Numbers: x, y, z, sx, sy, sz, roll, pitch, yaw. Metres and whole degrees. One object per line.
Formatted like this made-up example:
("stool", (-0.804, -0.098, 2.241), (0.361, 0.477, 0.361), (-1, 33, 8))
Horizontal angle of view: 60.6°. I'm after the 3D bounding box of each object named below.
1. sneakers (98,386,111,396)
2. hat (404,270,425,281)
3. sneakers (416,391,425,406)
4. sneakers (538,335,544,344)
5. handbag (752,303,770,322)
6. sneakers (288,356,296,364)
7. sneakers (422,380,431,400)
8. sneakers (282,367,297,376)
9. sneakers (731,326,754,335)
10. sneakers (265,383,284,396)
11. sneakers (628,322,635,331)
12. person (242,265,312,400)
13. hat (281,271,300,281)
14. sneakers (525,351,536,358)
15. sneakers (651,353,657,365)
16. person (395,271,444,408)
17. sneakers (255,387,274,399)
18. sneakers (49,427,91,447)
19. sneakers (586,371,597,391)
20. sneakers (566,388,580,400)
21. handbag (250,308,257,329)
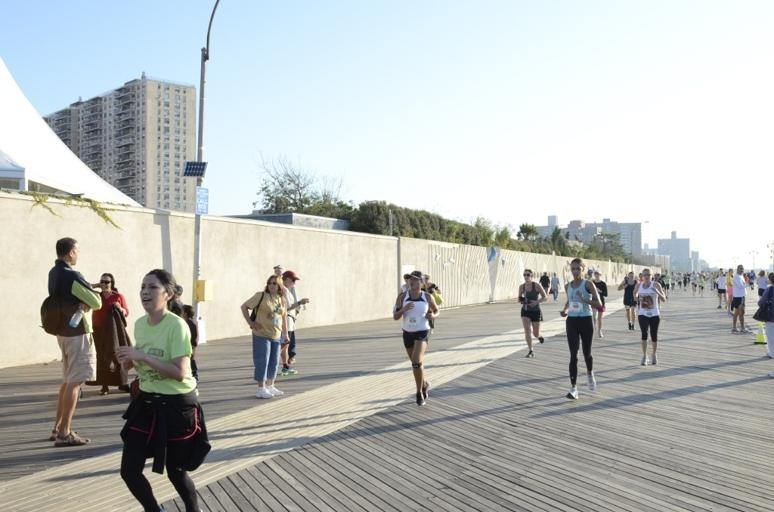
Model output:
("sneakers", (-5.513, 2.621, 12.906), (0.173, 0.198, 0.191), (-2, 1, -9))
("hat", (0.568, 0.331, 12.315), (0.182, 0.124, 0.311), (-5, -14, 24))
("sneakers", (0.630, 2.605, 12.185), (0.168, 0.243, 0.218), (0, 3, 3))
("sneakers", (4.279, 2.326, 18.393), (0.173, 0.279, 0.630), (-1, 10, 11))
("handbag", (8.953, 1.352, 15.778), (0.250, 0.423, 0.397), (2, -3, 19))
("sneakers", (-2.236, 2.470, 15.603), (0.100, 0.162, 0.369), (-5, -15, 5))
("sneakers", (0.727, 2.485, 12.356), (0.105, 0.382, 0.152), (-2, -23, 19))
("sneakers", (-2.164, 2.559, 14.614), (0.352, 0.193, 0.152), (3, -1, -2))
("sneakers", (11.539, 2.434, 21.503), (0.369, 0.192, 0.136), (-4, 7, -14))
("sneakers", (-2.174, 2.583, 12.772), (0.370, 0.196, 0.139), (2, 4, 33))
("sneakers", (8.389, 2.431, 22.613), (0.125, 0.318, 0.417), (0, -14, 0))
("person", (-2.319, 1.534, 12.675), (0.870, 2.297, 0.558), (-2, 4, -28))
("hat", (-2.082, 0.498, 14.250), (0.397, 0.266, 0.278), (7, 5, -8))
("sneakers", (3.645, 2.504, 16.795), (0.105, 0.237, 0.304), (-2, 2, -19))
("sneakers", (6.292, 2.413, 15.550), (0.117, 0.220, 0.318), (1, 4, 22))
("person", (0.558, 1.491, 12.524), (0.759, 2.424, 1.253), (0, 3, 4))
("sneakers", (-2.325, 2.602, 12.567), (0.382, 0.206, 0.150), (-3, -2, 25))
("sneakers", (-4.950, 2.807, 10.313), (0.499, 0.262, 0.270), (0, -2, -8))
("sneakers", (3.997, 2.465, 12.990), (0.160, 0.580, 0.208), (0, 9, 30))
("sneakers", (3.528, 2.640, 12.546), (0.121, 0.159, 0.347), (-3, -30, 8))
("handbag", (-2.521, 1.193, 12.520), (0.130, 0.365, 0.245), (-1, 3, -13))
